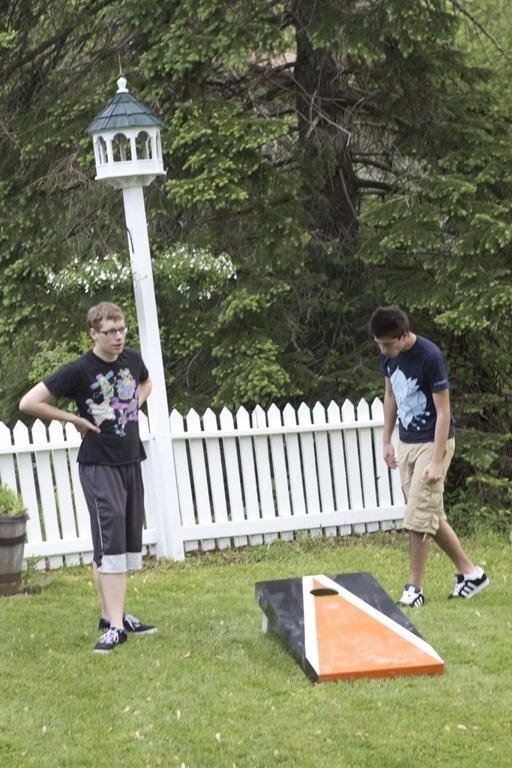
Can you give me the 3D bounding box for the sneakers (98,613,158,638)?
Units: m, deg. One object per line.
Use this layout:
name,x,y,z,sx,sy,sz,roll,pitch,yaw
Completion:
sneakers,-0.745,1.402,8.069,0.354,0.201,0.141,1,1,-5

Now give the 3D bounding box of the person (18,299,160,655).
person,-0.867,0.501,7.973,0.480,1.918,0.839,4,10,37

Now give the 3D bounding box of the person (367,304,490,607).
person,1.028,0.419,8.229,0.646,1.783,0.437,0,8,10

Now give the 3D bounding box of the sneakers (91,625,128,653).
sneakers,-0.826,1.427,7.834,0.138,0.100,0.312,1,10,16

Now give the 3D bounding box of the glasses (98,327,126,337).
glasses,-0.807,-0.298,7.848,0.183,0.053,0.068,-11,13,-41
